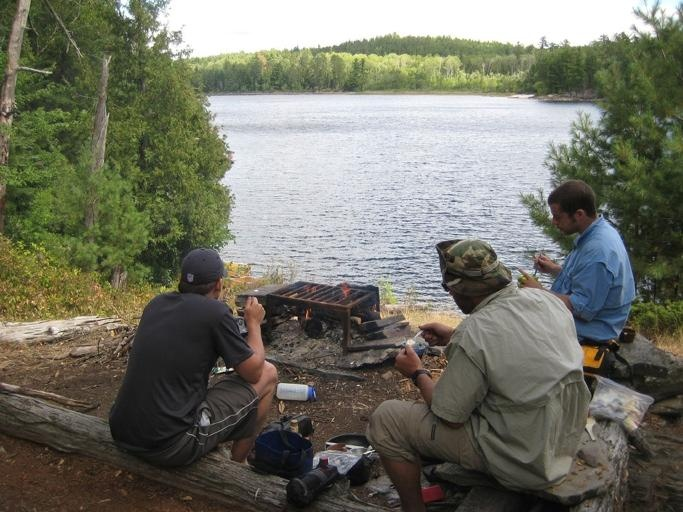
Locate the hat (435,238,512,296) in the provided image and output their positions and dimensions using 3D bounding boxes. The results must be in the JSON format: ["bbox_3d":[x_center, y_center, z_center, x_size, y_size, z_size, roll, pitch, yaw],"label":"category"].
[{"bbox_3d":[1.515,0.103,7.757,0.912,0.556,0.757,-5,20,36],"label":"hat"}]

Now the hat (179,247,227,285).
[{"bbox_3d":[-1.655,0.083,8.232,0.502,0.403,0.705,5,12,15],"label":"hat"}]

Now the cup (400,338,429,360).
[{"bbox_3d":[0.895,1.059,8.172,0.273,0.263,0.215,-24,29,-12],"label":"cup"}]
